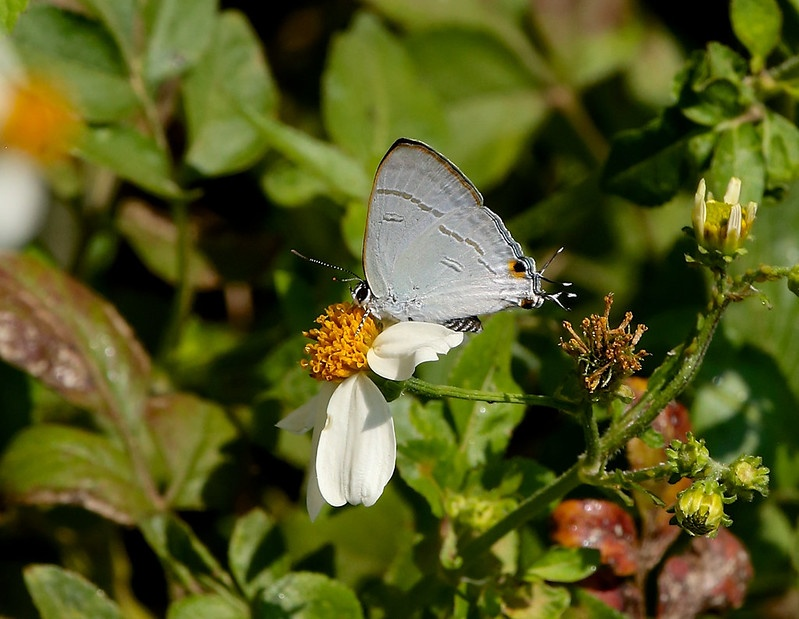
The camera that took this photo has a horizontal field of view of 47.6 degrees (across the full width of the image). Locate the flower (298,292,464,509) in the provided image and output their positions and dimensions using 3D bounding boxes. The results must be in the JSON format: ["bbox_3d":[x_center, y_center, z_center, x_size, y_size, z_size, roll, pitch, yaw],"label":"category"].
[{"bbox_3d":[-0.113,0.169,2.009,0.505,0.128,0.437,-51,33,29],"label":"flower"}]

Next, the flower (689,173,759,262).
[{"bbox_3d":[0.649,-0.176,1.913,0.132,0.135,0.157,10,90,-2],"label":"flower"}]
